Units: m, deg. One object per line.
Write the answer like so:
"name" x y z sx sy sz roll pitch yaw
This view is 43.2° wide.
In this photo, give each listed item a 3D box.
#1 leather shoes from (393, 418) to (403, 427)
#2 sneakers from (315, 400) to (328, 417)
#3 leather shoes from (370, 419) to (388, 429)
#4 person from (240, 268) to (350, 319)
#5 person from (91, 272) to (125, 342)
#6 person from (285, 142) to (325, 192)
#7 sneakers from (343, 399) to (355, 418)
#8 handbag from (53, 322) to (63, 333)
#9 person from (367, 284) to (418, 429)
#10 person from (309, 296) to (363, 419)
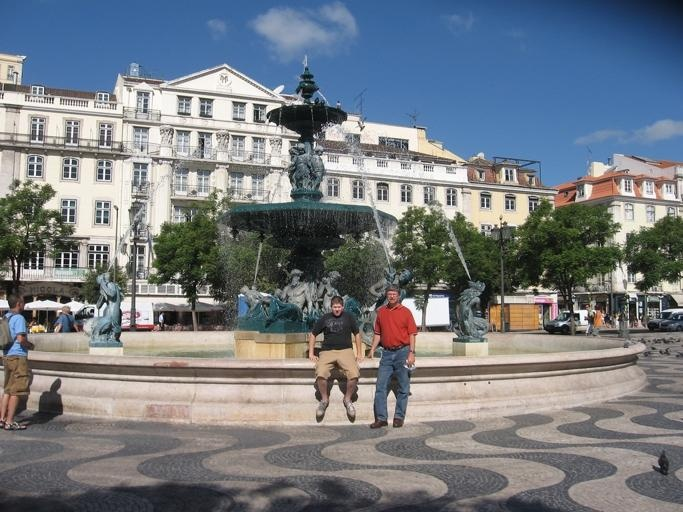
"leather shoes" 0.951 2.823 14.733 0.148 0.113 0.138 2 -17 -6
"sneakers" -0.335 2.618 14.834 0.216 0.373 0.196 0 12 -1
"leather shoes" 0.594 2.823 14.652 0.346 0.142 0.113 17 -22 -39
"person" -1.088 0.827 19.132 1.980 0.939 1.072 3 -8 -37
"person" -5.024 1.149 18.385 0.636 1.537 1.060 -3 13 -16
"person" -0.890 -2.149 20.994 0.862 1.118 0.844 2 12 7
"sneakers" 0.128 2.582 14.883 0.132 0.126 0.343 -6 42 -20
"handbag" -7.566 1.940 23.071 0.142 0.317 0.549 3 -21 -20
"person" 0.858 1.692 14.800 0.787 2.317 0.907 1 12 2
"person" -0.111 1.761 14.920 0.899 2.087 0.702 0 12 -2
